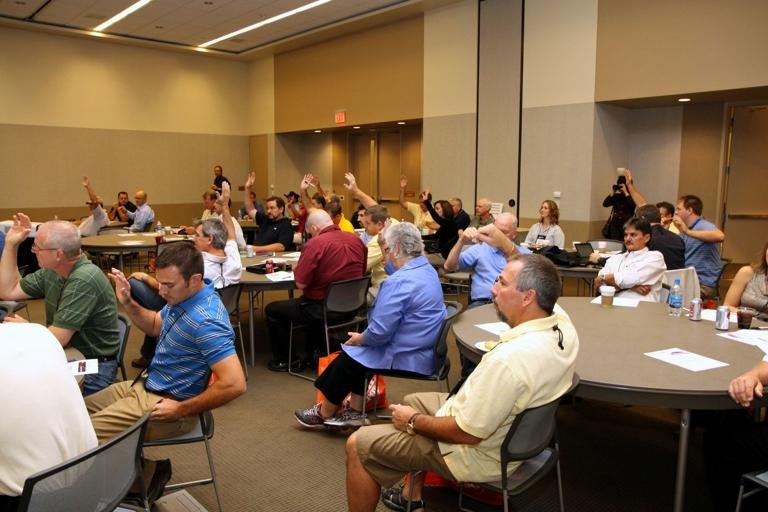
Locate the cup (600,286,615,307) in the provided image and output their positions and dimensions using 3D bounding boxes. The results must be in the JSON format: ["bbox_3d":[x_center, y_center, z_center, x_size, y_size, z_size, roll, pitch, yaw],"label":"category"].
[{"bbox_3d":[1.776,0.324,4.445,0.147,0.155,0.148,1,1,0],"label":"cup"}]

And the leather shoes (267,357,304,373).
[{"bbox_3d":[-0.993,1.103,5.538,0.161,0.122,0.279,-1,-5,42],"label":"leather shoes"}]

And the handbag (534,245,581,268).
[{"bbox_3d":[2.073,0.005,6.311,0.481,0.181,0.388,-3,7,-30],"label":"handbag"}]

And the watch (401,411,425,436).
[{"bbox_3d":[0.152,0.956,3.156,0.074,0.122,0.113,20,-2,26],"label":"watch"}]

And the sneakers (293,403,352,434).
[{"bbox_3d":[-0.515,1.290,4.494,0.517,0.255,0.194,6,0,5],"label":"sneakers"}]

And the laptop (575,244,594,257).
[{"bbox_3d":[2.527,-0.097,6.978,0.264,0.179,0.189,-5,0,-35],"label":"laptop"}]

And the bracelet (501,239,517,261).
[{"bbox_3d":[1.089,-0.057,4.856,0.063,0.147,0.201,-27,-30,-7],"label":"bracelet"}]

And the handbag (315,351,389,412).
[{"bbox_3d":[-0.254,0.998,4.347,0.559,0.553,0.287,0,-2,-37],"label":"handbag"}]

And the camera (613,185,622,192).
[{"bbox_3d":[3.780,-1.105,8.908,0.105,0.113,0.039,1,-12,37],"label":"camera"}]

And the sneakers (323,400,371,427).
[{"bbox_3d":[-0.299,1.272,4.375,0.425,0.223,0.146,0,-12,3],"label":"sneakers"}]

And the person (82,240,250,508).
[{"bbox_3d":[-1.318,0.702,3.313,1.070,1.550,0.737,3,10,29],"label":"person"}]

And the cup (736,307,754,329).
[{"bbox_3d":[2.519,0.445,3.889,0.105,0.134,0.131,1,-6,6],"label":"cup"}]
